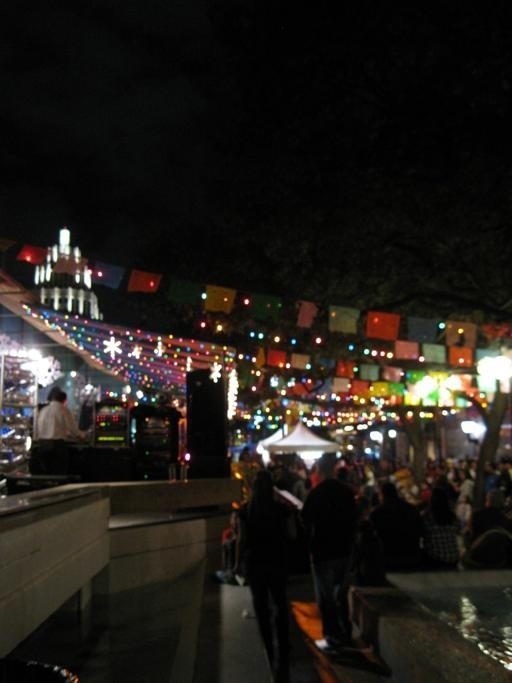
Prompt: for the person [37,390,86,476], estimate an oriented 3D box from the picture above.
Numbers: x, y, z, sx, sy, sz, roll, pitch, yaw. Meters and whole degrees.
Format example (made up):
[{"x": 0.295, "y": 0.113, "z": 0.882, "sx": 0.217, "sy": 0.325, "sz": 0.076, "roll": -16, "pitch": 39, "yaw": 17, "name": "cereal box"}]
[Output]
[{"x": -3.155, "y": 1.450, "z": 10.144, "sx": 0.701, "sy": 1.404, "sz": 1.140, "roll": -3, "pitch": -7, "yaw": -18, "name": "person"}]
